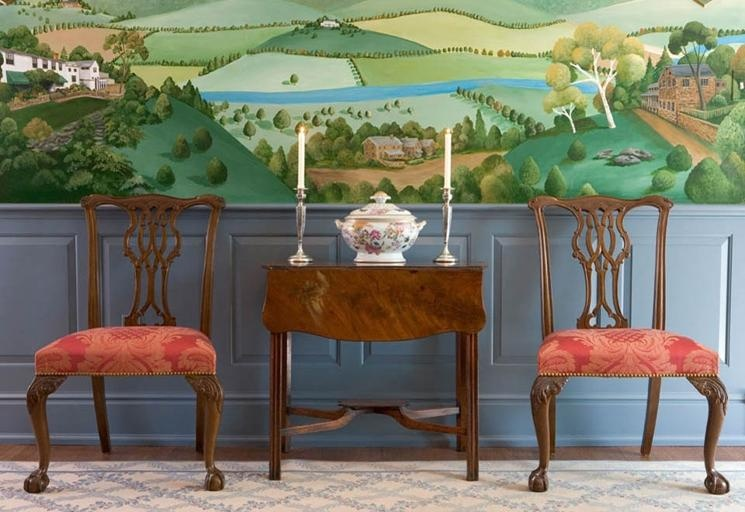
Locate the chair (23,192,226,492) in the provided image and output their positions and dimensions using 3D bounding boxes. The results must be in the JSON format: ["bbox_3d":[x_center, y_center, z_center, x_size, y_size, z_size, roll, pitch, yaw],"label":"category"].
[{"bbox_3d":[-1.223,0.413,4.150,0.964,1.498,1.047,1,2,2],"label":"chair"}]

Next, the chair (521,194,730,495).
[{"bbox_3d":[1.330,0.399,4.200,0.997,1.532,1.005,-1,0,10],"label":"chair"}]

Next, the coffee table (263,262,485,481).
[{"bbox_3d":[0.006,0.617,4.173,1.171,1.093,0.730,0,-2,5],"label":"coffee table"}]
